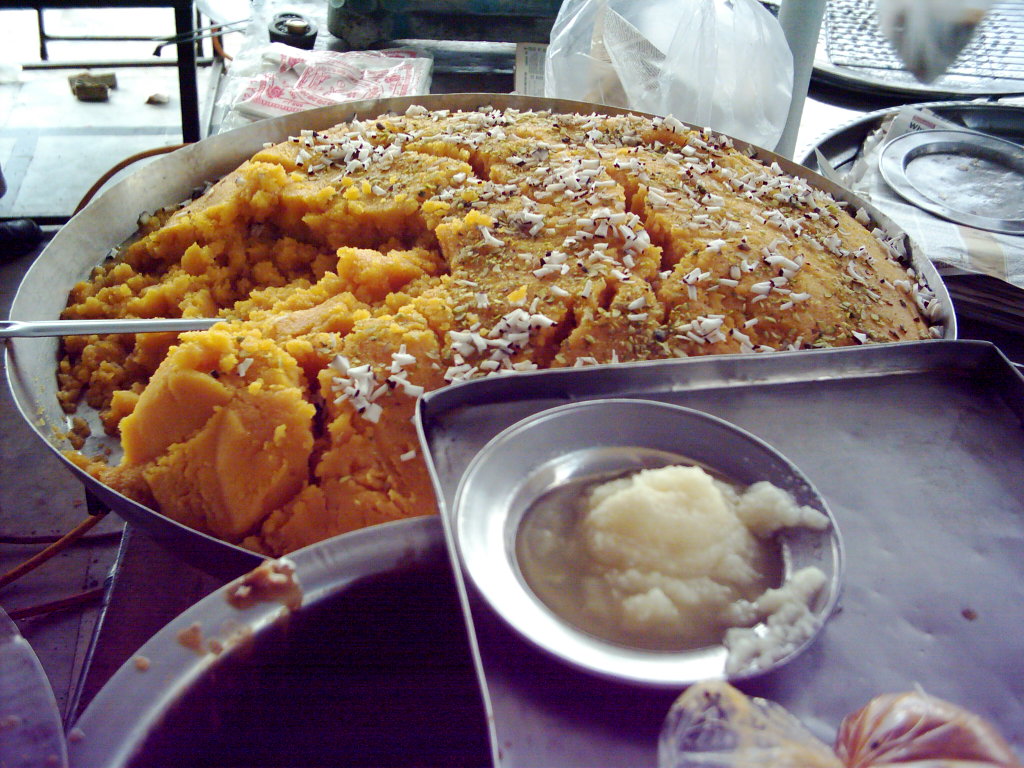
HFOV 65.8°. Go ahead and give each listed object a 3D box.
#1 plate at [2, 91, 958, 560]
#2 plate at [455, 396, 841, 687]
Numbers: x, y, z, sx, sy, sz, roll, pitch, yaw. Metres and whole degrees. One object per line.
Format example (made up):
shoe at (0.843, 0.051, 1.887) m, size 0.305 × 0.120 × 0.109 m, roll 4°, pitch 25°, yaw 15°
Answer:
plate at (-0.115, -0.148, 1.270) m, size 1.013 × 0.283 × 0.963 m, roll -21°, pitch 41°, yaw -27°
plate at (0.131, 0.156, 0.825) m, size 0.385 × 0.045 × 0.303 m, roll 10°, pitch 55°, yaw 3°
